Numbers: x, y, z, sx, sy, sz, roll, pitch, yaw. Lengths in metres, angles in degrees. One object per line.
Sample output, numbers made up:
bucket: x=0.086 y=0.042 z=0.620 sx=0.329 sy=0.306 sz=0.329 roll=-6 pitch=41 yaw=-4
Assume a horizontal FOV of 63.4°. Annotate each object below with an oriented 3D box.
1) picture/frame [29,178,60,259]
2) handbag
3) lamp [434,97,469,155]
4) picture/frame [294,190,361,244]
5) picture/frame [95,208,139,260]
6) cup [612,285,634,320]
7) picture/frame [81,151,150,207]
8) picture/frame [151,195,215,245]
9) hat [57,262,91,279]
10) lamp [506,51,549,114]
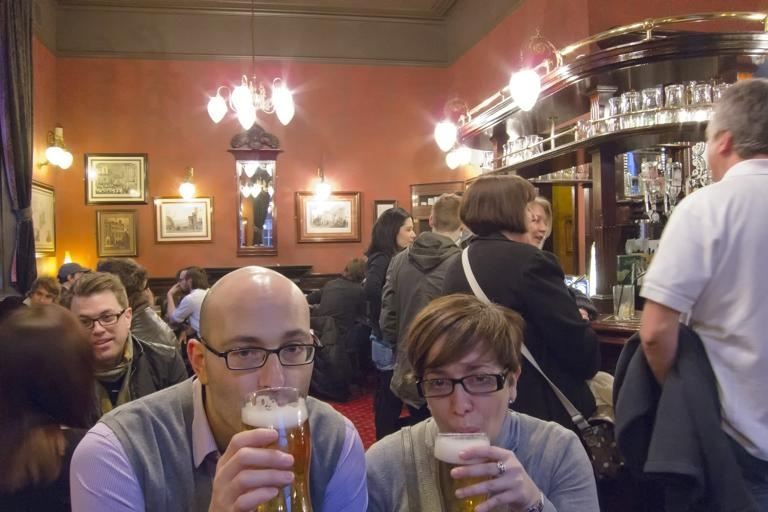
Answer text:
picture/frame: x=-4.868 y=-0.518 z=8.874 sx=0.038 sy=0.918 sz=1.160 roll=-4 pitch=6 yaw=-43
handbag: x=0.978 y=0.878 z=2.855 sx=0.208 sy=0.286 sz=0.124 roll=-12 pitch=-14 yaw=-12
lamp: x=0.759 y=-1.559 z=7.043 sx=0.358 sy=0.644 sz=1.256 roll=-2 pitch=4 yaw=7
picture/frame: x=-0.952 y=-0.650 z=10.011 sx=0.802 sy=0.703 sz=0.070 roll=0 pitch=-1 yaw=-13
picture/frame: x=-4.068 y=-0.325 z=9.392 sx=0.769 sy=1.035 sz=0.097 roll=-1 pitch=-3 yaw=-13
cup: x=1.532 y=0.294 z=3.953 sx=0.109 sy=0.219 sz=0.074 roll=-1 pitch=5 yaw=13
picture/frame: x=-4.132 y=-1.202 z=9.478 sx=0.770 sy=0.770 sz=0.058 roll=0 pitch=1 yaw=-8
picture/frame: x=-3.158 y=-0.575 z=9.628 sx=0.714 sy=0.655 sz=0.058 roll=0 pitch=0 yaw=-12
hat: x=-3.266 y=0.155 z=6.491 sx=0.249 sy=0.150 sz=0.182 roll=-13 pitch=5 yaw=-22
lamp: x=1.176 y=-1.389 z=5.049 sx=0.319 sy=0.467 sz=0.374 roll=1 pitch=4 yaw=16
